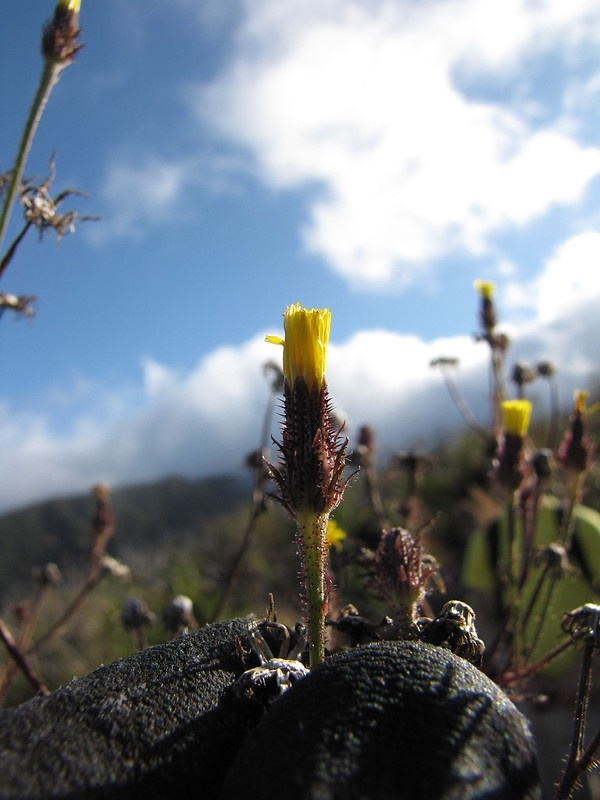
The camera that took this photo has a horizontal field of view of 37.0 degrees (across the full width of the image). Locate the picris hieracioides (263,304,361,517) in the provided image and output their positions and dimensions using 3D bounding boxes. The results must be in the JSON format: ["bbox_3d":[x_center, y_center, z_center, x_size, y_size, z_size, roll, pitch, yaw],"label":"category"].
[{"bbox_3d":[0.016,0.016,1.665,0.146,0.406,0.135,-1,-4,-2],"label":"picris hieracioides"}]
